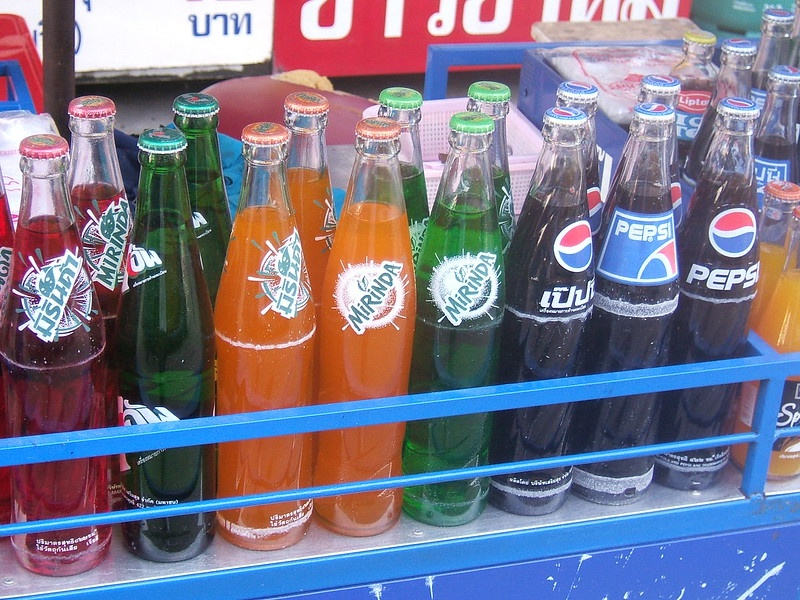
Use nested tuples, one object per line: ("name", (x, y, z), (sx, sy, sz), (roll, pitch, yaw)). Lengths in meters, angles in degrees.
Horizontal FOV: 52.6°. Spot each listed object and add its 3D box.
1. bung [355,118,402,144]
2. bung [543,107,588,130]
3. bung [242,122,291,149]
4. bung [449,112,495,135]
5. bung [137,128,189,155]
("bung", (-0.027, -0.203, 0.969), (0.052, 0.022, 0.042), (-1, 24, -2))
("bung", (0.207, -0.229, 1.021), (0.047, 0.019, 0.047), (-13, 27, -27))
("bung", (-0.159, -0.195, 0.957), (0.050, 0.026, 0.063), (-2, 24, -6))
("bung", (0.089, -0.219, 1.002), (0.053, 0.022, 0.054), (1, 24, 2))
("bung", (-0.275, -0.185, 0.933), (0.051, 0.025, 0.056), (-7, 25, -15))
